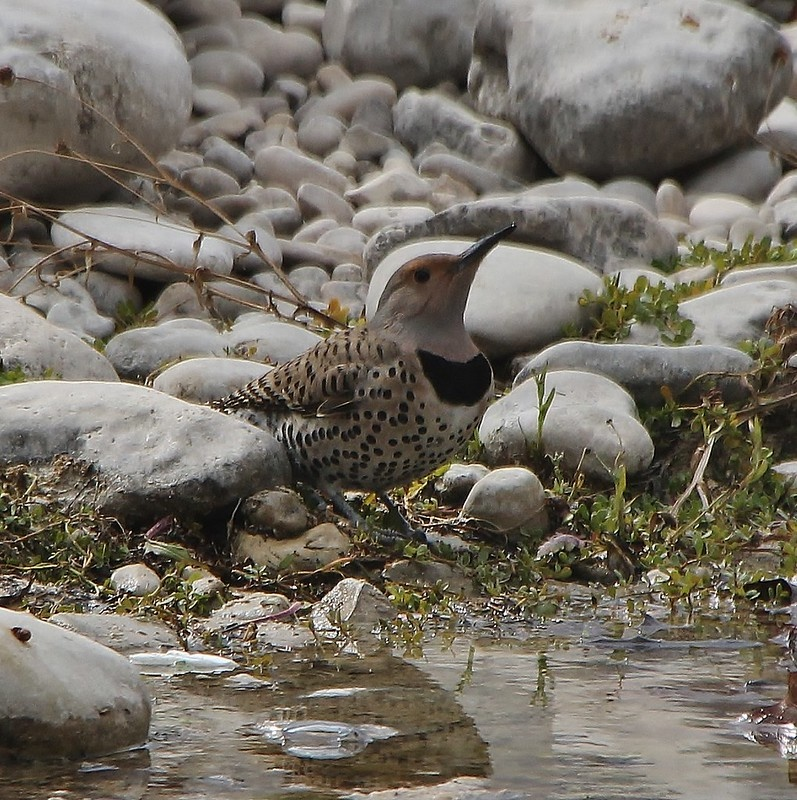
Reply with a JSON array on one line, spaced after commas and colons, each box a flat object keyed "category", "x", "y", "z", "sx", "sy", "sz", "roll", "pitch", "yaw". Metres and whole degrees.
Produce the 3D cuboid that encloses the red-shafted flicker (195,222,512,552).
[{"category": "red-shafted flicker", "x": -0.108, "y": -0.070, "z": 4.396, "sx": 1.144, "sy": 0.830, "sz": 0.560, "roll": 6, "pitch": 7, "yaw": 41}]
